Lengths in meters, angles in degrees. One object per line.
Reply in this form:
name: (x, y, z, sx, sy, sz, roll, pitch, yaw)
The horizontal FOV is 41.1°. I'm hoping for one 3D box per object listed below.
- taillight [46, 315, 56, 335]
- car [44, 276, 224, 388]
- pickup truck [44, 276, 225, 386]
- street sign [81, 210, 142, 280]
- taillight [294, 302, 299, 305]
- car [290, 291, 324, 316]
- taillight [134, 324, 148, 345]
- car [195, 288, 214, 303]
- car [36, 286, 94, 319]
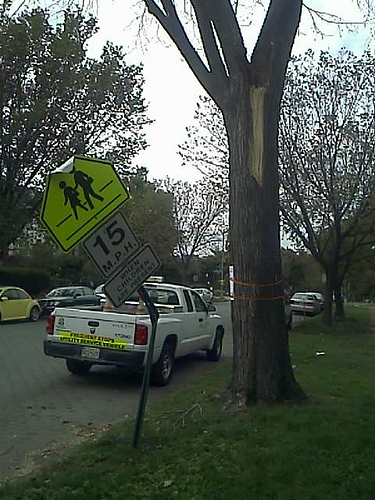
taillight: (-2.301, 1.262, 8.386, 0.172, 0.325, 0.072, -5, -7, 40)
car: (-0.633, 1.417, 9.774, 1.725, 1.689, 4.016, -1, -3, 25)
pickup truck: (-0.563, 1.424, 9.623, 1.775, 1.499, 3.834, -2, -3, 26)
street sign: (-0.706, -0.064, 4.692, 0.608, 0.686, 0.242, 2, -6, -22)
taillight: (7.561, 3.732, 34.538, 0.235, 0.183, 0.132, 7, 10, 28)
car: (8.713, 3.902, 36.142, 2.063, 1.663, 6.333, -2, -6, 14)
taillight: (-0.720, 1.308, 7.739, 0.208, 0.317, 0.078, 1, -6, -19)
car: (1.802, 4.377, 48.498, 1.353, 1.119, 3.078, -3, -16, 18)
car: (-6.243, 2.443, 25.010, 1.185, 0.969, 2.256, -5, -9, 28)
